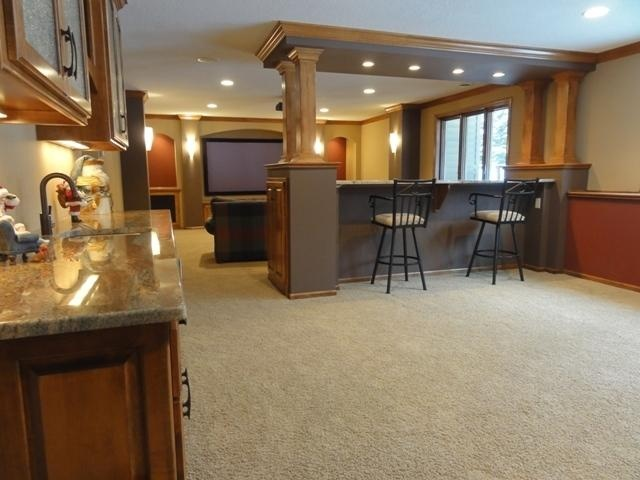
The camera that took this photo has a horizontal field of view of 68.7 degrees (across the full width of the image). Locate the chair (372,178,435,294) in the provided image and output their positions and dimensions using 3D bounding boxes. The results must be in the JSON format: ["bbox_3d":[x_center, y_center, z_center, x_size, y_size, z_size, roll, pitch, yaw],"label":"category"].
[{"bbox_3d":[0.866,-0.048,4.877,0.754,1.078,0.748,1,-3,-39],"label":"chair"}]

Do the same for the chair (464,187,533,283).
[{"bbox_3d":[1.985,-0.136,5.216,0.672,1.130,0.682,0,9,5],"label":"chair"}]

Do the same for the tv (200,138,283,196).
[{"bbox_3d":[-1.767,-1.544,9.763,1.971,1.409,0.067,-1,4,-24],"label":"tv"}]
